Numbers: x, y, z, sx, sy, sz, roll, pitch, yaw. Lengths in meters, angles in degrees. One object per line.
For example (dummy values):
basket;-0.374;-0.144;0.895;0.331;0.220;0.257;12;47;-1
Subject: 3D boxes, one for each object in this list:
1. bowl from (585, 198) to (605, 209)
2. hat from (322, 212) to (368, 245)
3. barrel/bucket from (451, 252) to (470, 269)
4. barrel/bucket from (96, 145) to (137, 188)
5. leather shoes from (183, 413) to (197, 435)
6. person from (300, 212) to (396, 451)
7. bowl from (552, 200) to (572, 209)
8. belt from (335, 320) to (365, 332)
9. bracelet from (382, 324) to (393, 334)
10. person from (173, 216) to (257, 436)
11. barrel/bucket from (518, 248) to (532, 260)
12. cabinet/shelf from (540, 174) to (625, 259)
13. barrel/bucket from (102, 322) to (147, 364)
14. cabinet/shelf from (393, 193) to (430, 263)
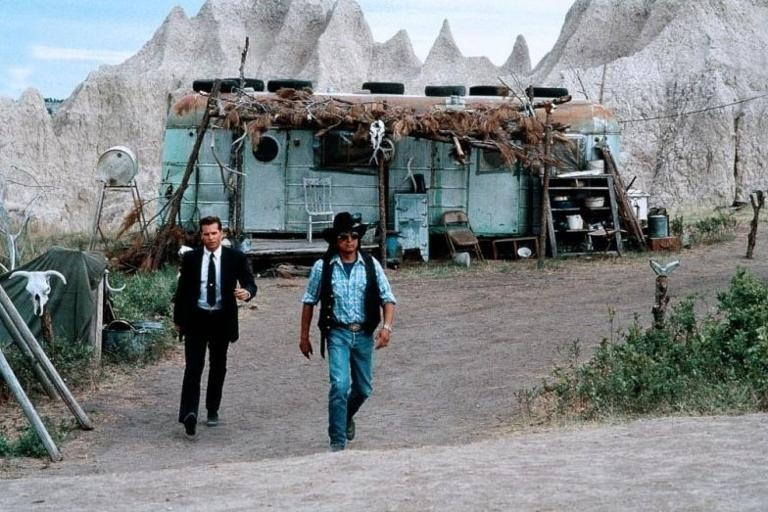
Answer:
bowl;5.093;-1.288;23.985;0.306;0.181;0.300;1;4;0
hat;-0.507;-0.368;12.434;0.419;0.186;0.482;-7;-4;-5
barrel/bucket;1.768;0.069;22.686;0.390;0.370;0.302;-22;10;-2
barrel/bucket;-5.406;-1.836;20.160;0.840;0.741;0.551;-12;15;-3
leather shoes;-2.539;2.184;12.962;0.127;0.355;0.153;0;8;2
person;-0.454;0.931;12.310;1.157;2.046;0.549;-1;1;-5
bowl;4.273;-1.270;23.866;0.271;0.161;0.275;-1;4;0
belt;-0.429;0.863;12.218;0.352;0.091;0.041;-1;1;-4
bracelet;0.031;0.912;12.468;0.090;0.105;0.253;2;-10;12
person;-2.279;0.912;13.089;0.956;2.246;0.426;-1;1;-13
barrel/bucket;3.354;-0.082;23.668;0.303;0.252;0.324;-1;0;0
cabinet/shelf;4.700;-0.963;23.809;2.085;2.345;0.917;-1;-1;-10
barrel/bucket;-4.066;1.347;15.441;0.674;0.622;0.514;1;3;1
cabinet/shelf;0.552;-0.665;23.414;0.973;1.612;1.108;-1;0;-5
